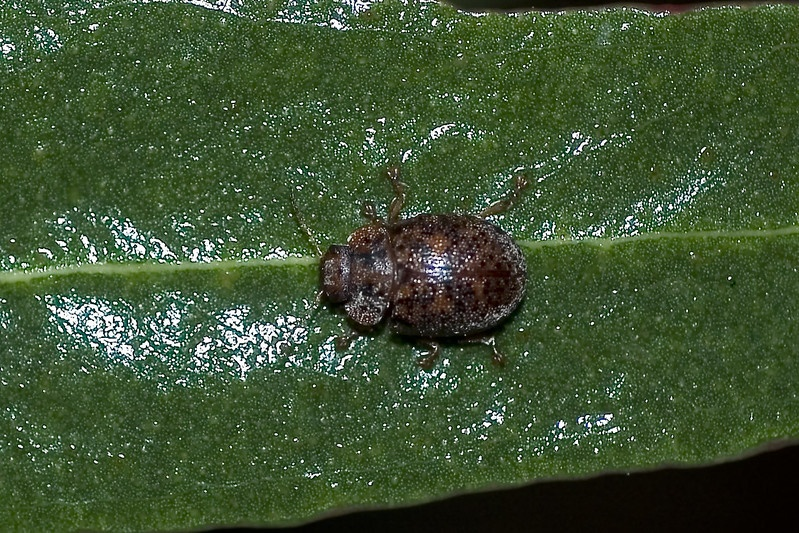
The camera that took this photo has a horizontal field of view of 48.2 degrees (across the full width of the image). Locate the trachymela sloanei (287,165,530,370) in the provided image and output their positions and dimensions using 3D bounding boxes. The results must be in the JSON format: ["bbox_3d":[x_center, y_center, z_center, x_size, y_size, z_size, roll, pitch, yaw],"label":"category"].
[{"bbox_3d":[0.163,0.038,6.333,1.409,0.296,0.953,18,84,1],"label":"trachymela sloanei"}]
